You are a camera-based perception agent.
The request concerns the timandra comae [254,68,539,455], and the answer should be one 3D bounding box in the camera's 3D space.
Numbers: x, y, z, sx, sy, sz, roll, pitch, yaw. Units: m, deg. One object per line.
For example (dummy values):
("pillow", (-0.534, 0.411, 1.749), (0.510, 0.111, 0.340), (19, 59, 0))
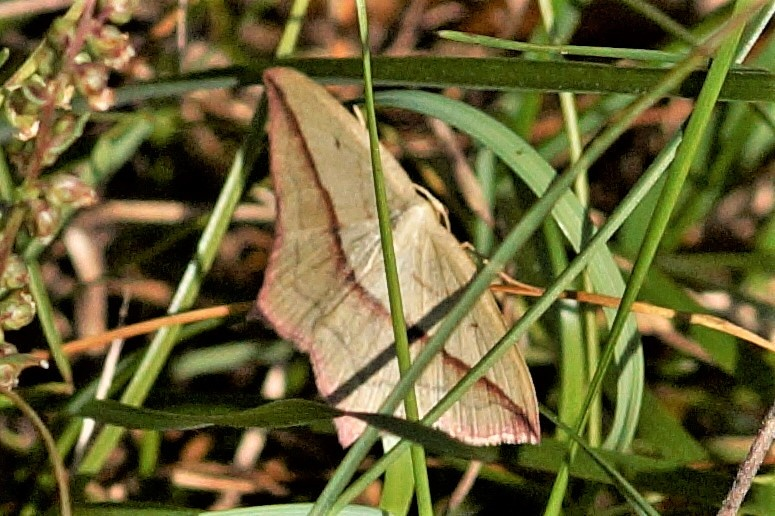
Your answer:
("timandra comae", (-0.021, 0.014, 1.507), (0.457, 0.451, 0.256), (22, -38, -25))
